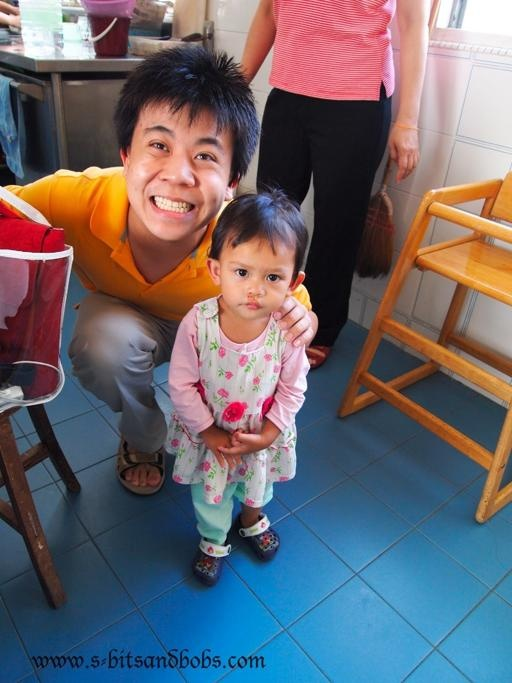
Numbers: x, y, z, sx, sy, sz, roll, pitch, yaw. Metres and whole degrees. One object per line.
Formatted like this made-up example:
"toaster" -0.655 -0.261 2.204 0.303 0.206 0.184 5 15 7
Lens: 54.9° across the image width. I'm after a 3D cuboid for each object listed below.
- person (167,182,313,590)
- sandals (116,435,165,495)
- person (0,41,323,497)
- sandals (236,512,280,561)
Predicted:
"person" -0.030 0.135 1.014 0.287 0.837 0.304 -5 36 -22
"sandals" -0.318 0.333 1.384 0.127 0.071 0.308 6 9 -16
"person" -0.237 -0.140 1.199 0.839 0.980 0.458 13 23 0
"sandals" 0.011 0.468 1.209 0.078 0.066 0.138 -20 28 -22
